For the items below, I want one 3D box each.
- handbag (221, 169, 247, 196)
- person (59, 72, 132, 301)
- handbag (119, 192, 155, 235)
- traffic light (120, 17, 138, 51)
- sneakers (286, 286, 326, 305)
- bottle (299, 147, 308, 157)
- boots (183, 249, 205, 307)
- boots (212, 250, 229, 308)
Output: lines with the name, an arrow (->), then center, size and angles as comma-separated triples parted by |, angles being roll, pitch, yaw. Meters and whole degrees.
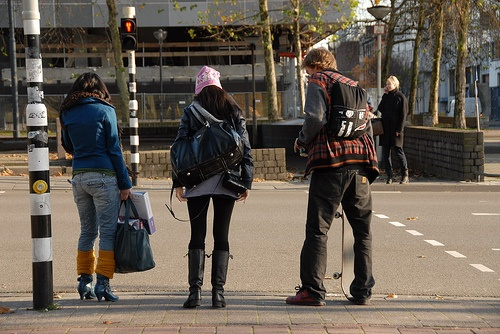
handbag -> -0.251, 0.217, 10.650 | 0.319, 0.118, 0.299 | 34, -46, -24
person -> -2.273, 0.266, 10.942 | 0.989, 3.280, 0.770 | -2, 6, 2
handbag -> -1.707, 0.687, 10.998 | 0.545, 0.557, 0.207 | 3, 21, 32
traffic light -> -2.950, -3.234, 18.054 | 0.376, 0.805, 0.511 | -4, 7, -10
sneakers -> 0.809, 1.844, 10.797 | 0.623, 0.315, 0.223 | 3, -3, 5
bottle -> 1.436, -0.410, 19.802 | 0.227, 0.169, 0.220 | 10, 4, -1
boots -> -0.815, 1.570, 10.607 | 0.293, 0.798, 0.363 | -1, 7, 9
boots -> -0.440, 1.574, 10.656 | 0.264, 0.769, 0.449 | -2, 7, 4
